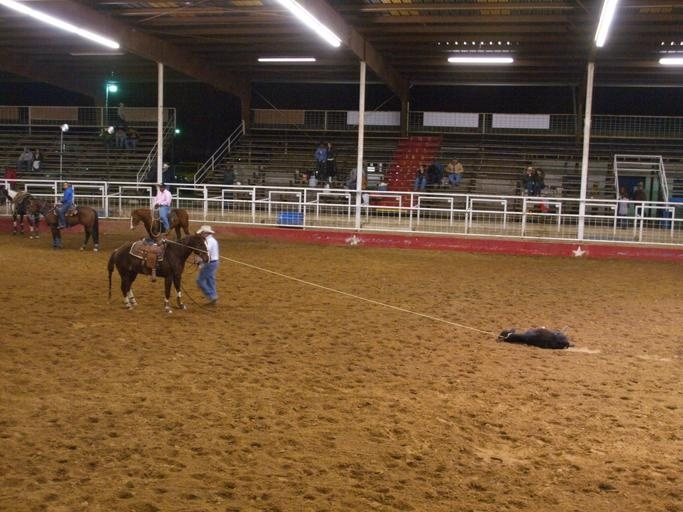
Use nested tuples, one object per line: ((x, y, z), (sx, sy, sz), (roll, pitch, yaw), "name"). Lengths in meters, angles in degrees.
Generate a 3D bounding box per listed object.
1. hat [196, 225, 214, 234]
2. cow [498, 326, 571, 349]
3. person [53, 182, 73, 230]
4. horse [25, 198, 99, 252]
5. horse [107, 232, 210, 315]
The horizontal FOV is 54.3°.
((-2.519, -0.444, 12.284), (0.224, 0.162, 0.275), (3, 11, 9), "hat")
((3.392, 1.452, 11.751), (1.357, 0.344, 0.425), (0, -6, 24), "cow")
((-7.874, -1.343, 18.958), (0.462, 1.328, 0.648), (-4, 14, -23), "person")
((-7.927, -0.843, 19.075), (2.541, 1.264, 0.523), (6, 1, 11), "horse")
((-3.402, 0.343, 12.514), (2.351, 1.278, 0.669), (0, -4, 24), "horse")
